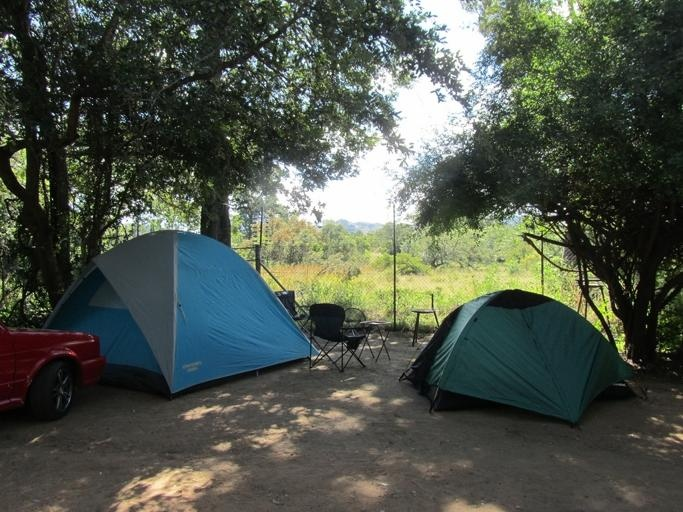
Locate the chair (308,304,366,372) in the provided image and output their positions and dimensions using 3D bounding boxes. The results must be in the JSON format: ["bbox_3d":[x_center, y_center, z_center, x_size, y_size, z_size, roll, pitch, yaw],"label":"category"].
[{"bbox_3d":[-0.093,1.505,10.671,0.799,1.267,0.856,0,2,33],"label":"chair"}]

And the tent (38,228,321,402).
[{"bbox_3d":[-2.626,0.930,10.018,2.777,1.942,2.859,-1,0,33],"label":"tent"}]

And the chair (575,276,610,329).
[{"bbox_3d":[5.347,0.999,12.021,0.796,1.083,0.734,-6,11,26],"label":"chair"}]

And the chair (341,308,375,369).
[{"bbox_3d":[0.345,1.594,11.412,0.922,1.314,0.899,4,-8,-29],"label":"chair"}]

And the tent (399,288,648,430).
[{"bbox_3d":[2.580,1.511,8.630,2.349,1.110,2.153,2,2,34],"label":"tent"}]
